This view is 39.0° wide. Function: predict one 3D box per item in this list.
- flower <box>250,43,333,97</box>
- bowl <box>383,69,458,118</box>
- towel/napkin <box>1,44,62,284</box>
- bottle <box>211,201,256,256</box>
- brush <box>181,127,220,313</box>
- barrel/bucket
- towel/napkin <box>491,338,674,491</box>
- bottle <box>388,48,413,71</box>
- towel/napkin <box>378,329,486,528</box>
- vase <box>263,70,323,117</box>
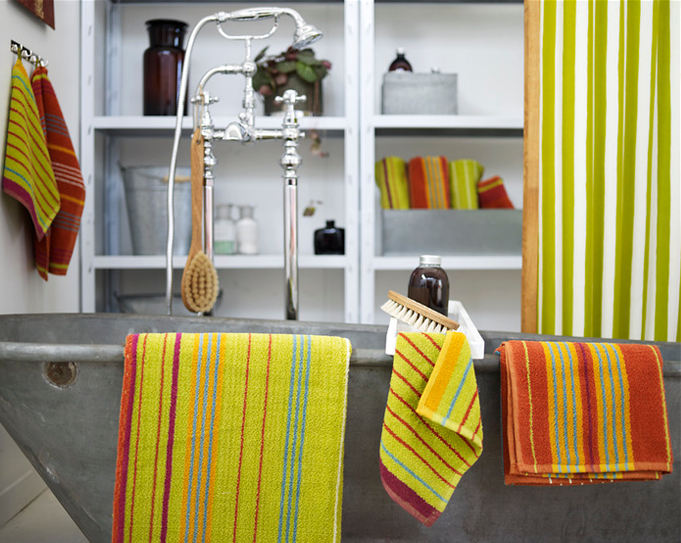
[{"bbox_3d":[-0.166,-0.652,3.109,0.169,0.082,0.181,-26,46,-20],"label":"flower"},{"bbox_3d":[0.262,-0.582,3.158,0.257,0.140,0.121,0,5,-2],"label":"bowl"},{"bbox_3d":[-0.873,-0.293,2.708,0.121,0.637,0.170,2,5,21],"label":"towel/napkin"},{"bbox_3d":[-0.354,-0.133,3.153,0.138,0.233,0.074,2,-7,-25],"label":"bottle"},{"bbox_3d":[-0.411,-0.126,2.801,0.102,0.560,0.367,-1,5,-8],"label":"brush"},{"bbox_3d":[-0.599,-0.194,3.115,0.227,0.323,0.254,0,0,15],"label":"barrel/bucket"},{"bbox_3d":[0.565,0.323,2.213,0.309,0.368,0.095,-2,4,-5],"label":"towel/napkin"},{"bbox_3d":[0.196,-0.694,3.152,0.050,0.092,0.084,0,-3,0],"label":"bottle"},{"bbox_3d":[0.210,0.357,2.209,0.231,0.449,0.147,1,5,10],"label":"towel/napkin"},{"bbox_3d":[-0.151,-0.565,3.113,0.128,0.118,0.145,1,4,-1],"label":"vase"}]
